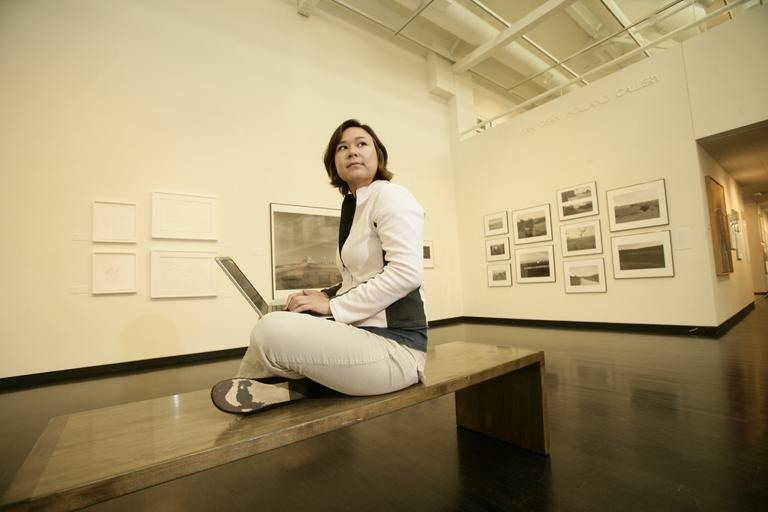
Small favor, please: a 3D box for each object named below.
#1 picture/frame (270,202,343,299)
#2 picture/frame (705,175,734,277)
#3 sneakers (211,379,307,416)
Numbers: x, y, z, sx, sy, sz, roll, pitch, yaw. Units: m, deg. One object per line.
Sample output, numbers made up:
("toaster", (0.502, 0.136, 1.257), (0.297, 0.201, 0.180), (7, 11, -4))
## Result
("picture/frame", (-1.409, -0.089, 7.783), (1.817, 1.741, 0.091), (3, -9, -41))
("picture/frame", (6.025, -0.522, 8.116), (0.245, 1.864, 1.587), (-3, 0, 40))
("sneakers", (-0.936, 1.073, 3.442), (0.684, 0.267, 0.243), (2, -22, -17))
